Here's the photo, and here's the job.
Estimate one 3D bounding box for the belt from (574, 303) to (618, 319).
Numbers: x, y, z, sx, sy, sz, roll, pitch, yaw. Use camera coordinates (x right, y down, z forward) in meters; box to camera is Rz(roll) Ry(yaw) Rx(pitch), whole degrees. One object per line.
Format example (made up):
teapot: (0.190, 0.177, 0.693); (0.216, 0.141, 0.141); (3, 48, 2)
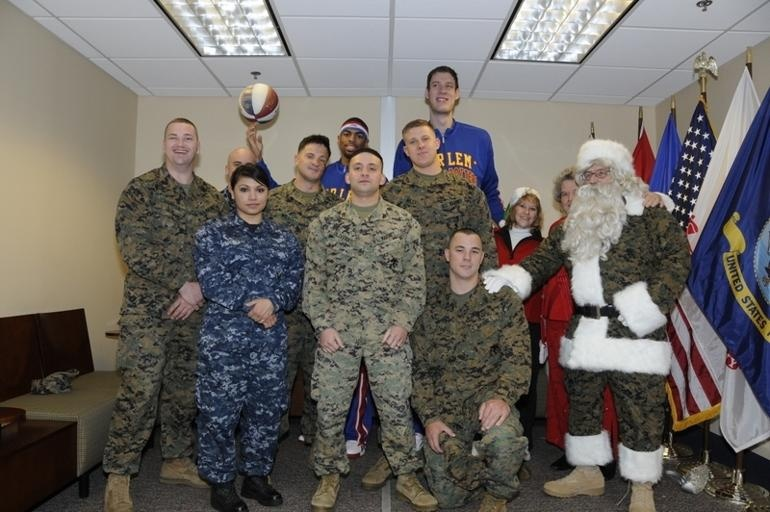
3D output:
belt: (1.556, 0.411, 4.200); (0.127, 0.057, 0.169); (-2, 3, -23)

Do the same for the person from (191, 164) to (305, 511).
person: (-0.988, 0.586, 4.104); (0.754, 2.488, 0.269); (0, -1, -12)
